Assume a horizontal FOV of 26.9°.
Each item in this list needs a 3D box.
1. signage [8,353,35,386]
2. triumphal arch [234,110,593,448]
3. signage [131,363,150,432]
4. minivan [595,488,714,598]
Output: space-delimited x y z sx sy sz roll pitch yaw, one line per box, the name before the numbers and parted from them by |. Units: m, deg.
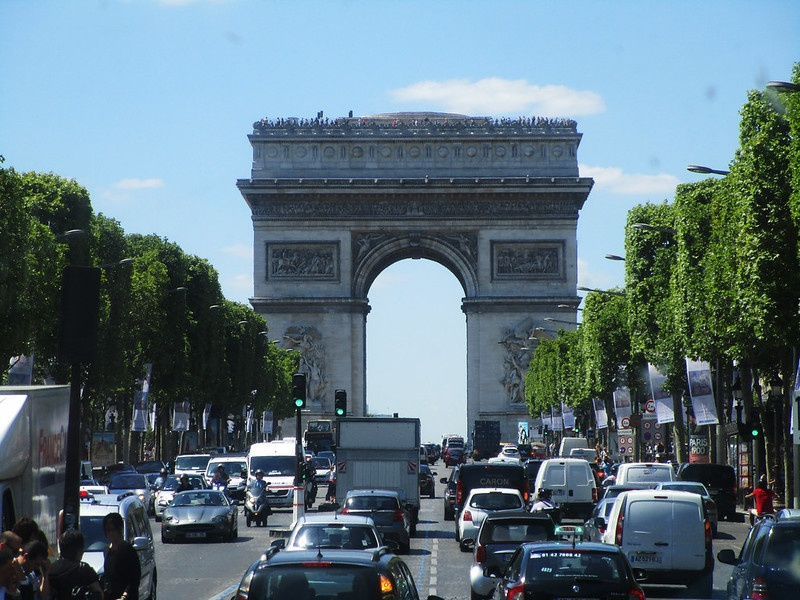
signage | -15.013 2.729 65.939 0.951 1.276 2.222 0 -8 -14
triumphal arch | 1.271 -2.413 121.185 19.884 23.070 9.926 0 -5 1
signage | -13.621 5.160 87.950 0.930 0.258 4.614 0 -52 -15
minivan | 7.418 6.607 46.563 1.919 2.053 3.740 0 -3 3
